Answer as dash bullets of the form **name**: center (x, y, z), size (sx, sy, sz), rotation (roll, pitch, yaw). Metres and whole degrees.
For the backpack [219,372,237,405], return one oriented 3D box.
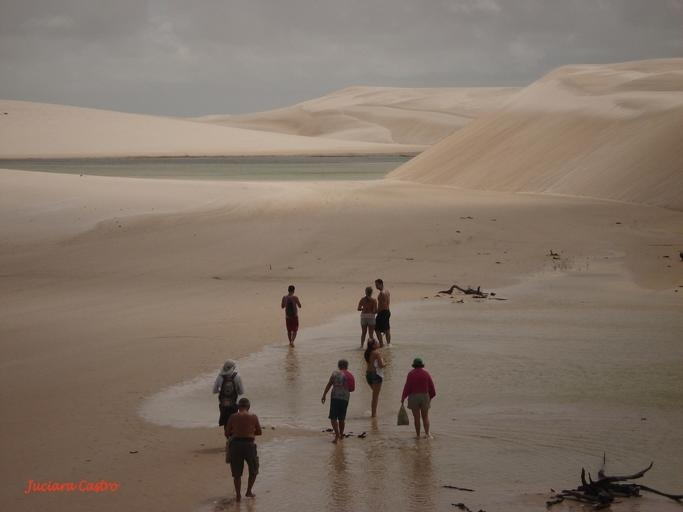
- **backpack**: center (-1.883, 2.229, 17.835), size (0.295, 0.538, 0.166), rotation (-2, 10, -7)

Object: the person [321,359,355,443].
- **person**: center (-0.051, 2.427, 18.123), size (0.520, 1.313, 0.672), rotation (-1, 9, 0)

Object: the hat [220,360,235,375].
- **hat**: center (-1.883, 1.836, 17.958), size (0.206, 0.229, 0.243), rotation (6, 17, -4)

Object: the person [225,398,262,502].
- **person**: center (-1.530, 3.032, 16.806), size (0.530, 1.494, 0.607), rotation (-3, 10, -14)

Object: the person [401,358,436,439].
- **person**: center (1.303, 2.393, 18.188), size (0.508, 1.276, 0.583), rotation (1, 10, 8)
